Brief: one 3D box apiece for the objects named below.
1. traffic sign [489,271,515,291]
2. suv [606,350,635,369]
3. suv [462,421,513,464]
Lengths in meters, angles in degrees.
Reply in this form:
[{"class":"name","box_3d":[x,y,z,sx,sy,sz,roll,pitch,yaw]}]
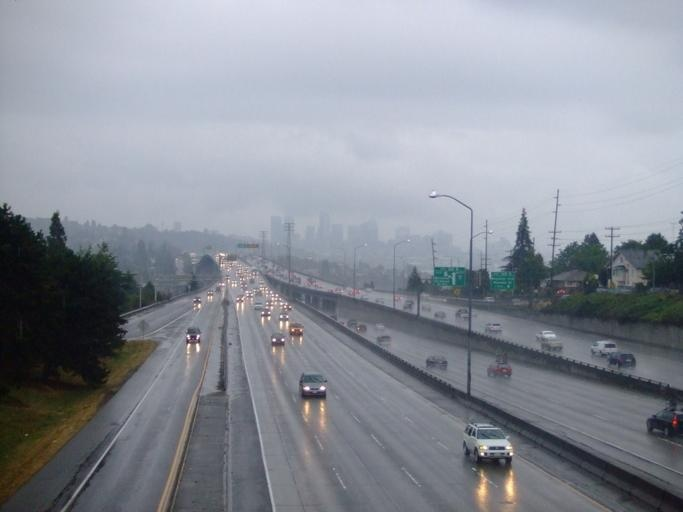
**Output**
[{"class":"traffic sign","box_3d":[19.927,2.988,100.686,2.504,2.421,0.352,0,-4,9]},{"class":"suv","box_3d":[26.983,9.815,79.266,1.227,1.090,2.097,-3,9,-15]},{"class":"suv","box_3d":[9.847,12.355,55.145,2.412,2.388,5.240,1,-7,-1]}]
